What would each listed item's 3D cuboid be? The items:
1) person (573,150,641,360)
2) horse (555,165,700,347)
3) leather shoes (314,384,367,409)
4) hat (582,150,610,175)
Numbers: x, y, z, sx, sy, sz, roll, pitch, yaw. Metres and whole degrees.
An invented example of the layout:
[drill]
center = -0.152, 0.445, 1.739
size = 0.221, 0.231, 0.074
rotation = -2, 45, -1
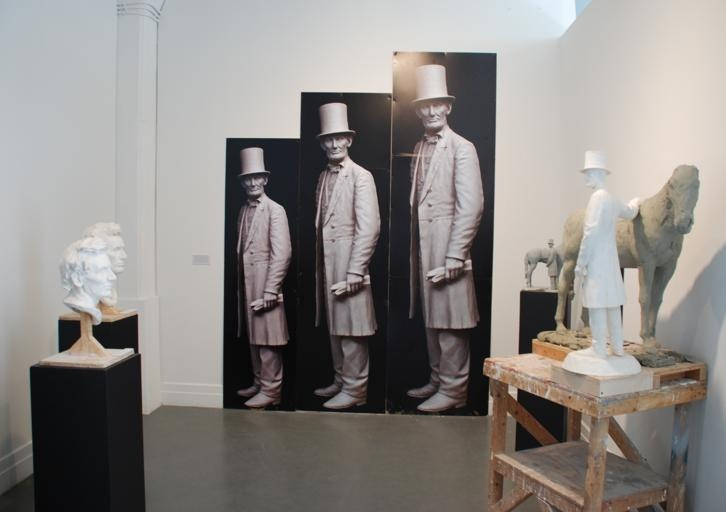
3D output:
[person]
center = 1.612, -0.031, 4.246
size = 0.366, 1.282, 0.495
rotation = 6, 15, 20
[horse]
center = 1.926, 0.020, 4.725
size = 0.372, 1.222, 1.280
rotation = 0, 0, -27
[leather shoes]
center = -0.200, 1.408, 6.414
size = 0.332, 0.147, 0.256
rotation = -4, 3, -9
[hat]
center = 1.576, -0.628, 4.334
size = 0.215, 0.152, 0.218
rotation = 0, 6, -1
